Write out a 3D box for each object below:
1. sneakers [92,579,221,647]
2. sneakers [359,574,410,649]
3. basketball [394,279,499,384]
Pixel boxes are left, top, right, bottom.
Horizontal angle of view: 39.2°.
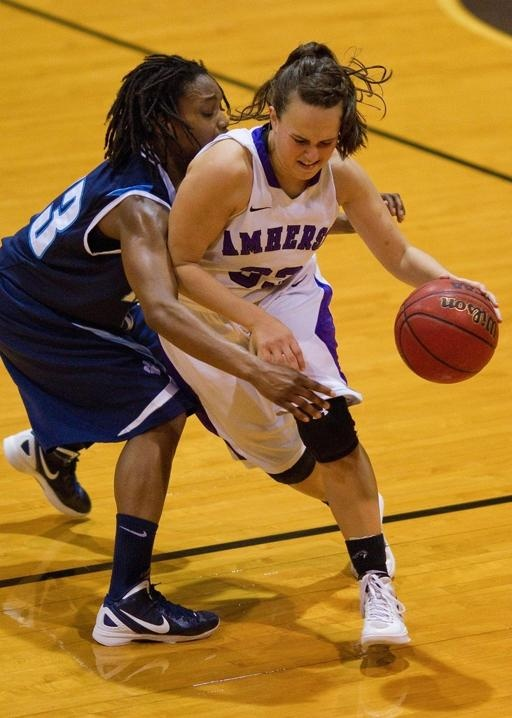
[{"bbox_3d":[-0.181,0.449,1.293,0.293,0.116,0.083,1,7,-11],"label":"sneakers"},{"bbox_3d":[0.198,0.408,1.160,0.064,0.062,0.157,-5,-5,6],"label":"sneakers"},{"bbox_3d":[0.333,-0.051,1.246,0.213,0.147,0.202,-8,4,30],"label":"basketball"}]
